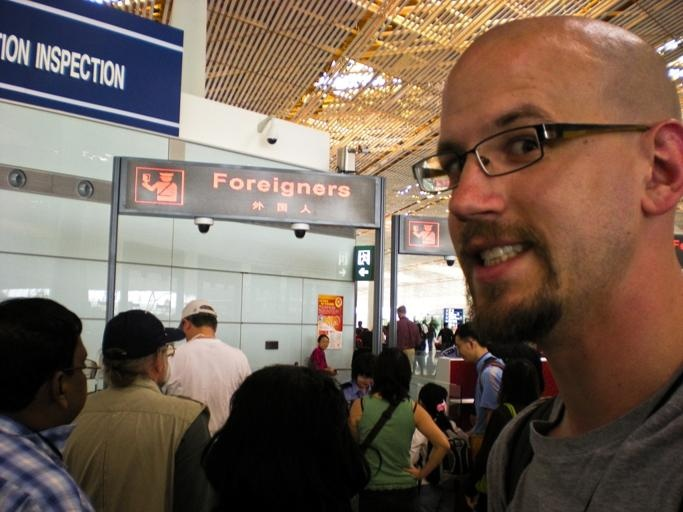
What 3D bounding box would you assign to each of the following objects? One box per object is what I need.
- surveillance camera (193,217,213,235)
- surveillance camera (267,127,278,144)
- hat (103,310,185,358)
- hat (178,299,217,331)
[{"bbox_3d":[-1.338,-0.288,5.024,0.154,0.142,0.147,-2,-12,7],"label":"surveillance camera"},{"bbox_3d":[-0.926,-1.578,6.960,0.120,0.199,0.221,-1,-7,3],"label":"surveillance camera"},{"bbox_3d":[-0.974,0.353,2.600,0.192,0.154,0.309,0,8,20],"label":"hat"},{"bbox_3d":[-1.127,0.428,4.080,0.209,0.159,0.294,5,-22,-25],"label":"hat"}]
